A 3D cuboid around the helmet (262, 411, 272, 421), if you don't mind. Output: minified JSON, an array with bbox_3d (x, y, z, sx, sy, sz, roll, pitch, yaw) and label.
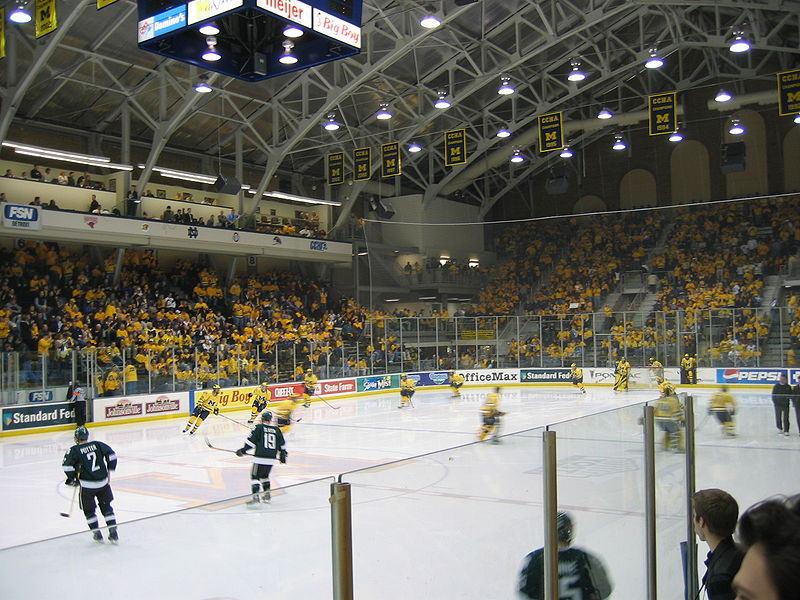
[{"bbox_3d":[-1.942,1.695,12.145,0.155,0.169,0.121,6,0,-38],"label":"helmet"}]

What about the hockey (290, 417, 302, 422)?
[{"bbox_3d":[-2.808,3.241,22.437,0.182,0.150,0.194,-1,-1,22],"label":"hockey"}]
